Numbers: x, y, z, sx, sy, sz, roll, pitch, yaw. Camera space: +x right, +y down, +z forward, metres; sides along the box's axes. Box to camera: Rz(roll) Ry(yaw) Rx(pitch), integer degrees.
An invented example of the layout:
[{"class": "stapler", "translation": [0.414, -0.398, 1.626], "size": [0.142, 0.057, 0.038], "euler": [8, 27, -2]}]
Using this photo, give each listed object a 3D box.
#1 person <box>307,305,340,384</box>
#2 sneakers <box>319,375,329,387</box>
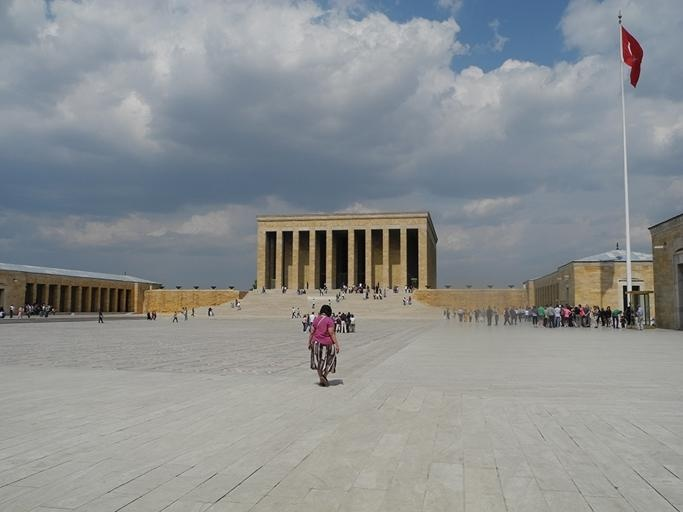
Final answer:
[{"class": "person", "translation": [-0.354, 1.744, 10.120], "size": [0.556, 1.526, 1.278], "euler": [0, -5, -4]}, {"class": "sneakers", "translation": [-0.340, 2.350, 9.510], "size": [0.101, 0.312, 0.138], "euler": [-10, 21, 11]}]
